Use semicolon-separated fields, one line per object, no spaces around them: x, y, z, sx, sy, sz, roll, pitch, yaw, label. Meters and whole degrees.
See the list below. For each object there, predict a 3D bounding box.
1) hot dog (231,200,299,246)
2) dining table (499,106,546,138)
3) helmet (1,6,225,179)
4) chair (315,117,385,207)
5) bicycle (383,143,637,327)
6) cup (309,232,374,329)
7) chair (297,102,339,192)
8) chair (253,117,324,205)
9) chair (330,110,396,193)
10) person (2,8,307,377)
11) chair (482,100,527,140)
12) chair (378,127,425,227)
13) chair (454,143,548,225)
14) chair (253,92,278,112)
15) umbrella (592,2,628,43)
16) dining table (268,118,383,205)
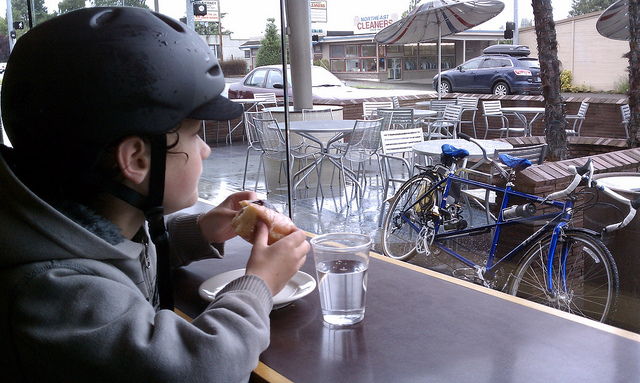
-0.139;0.081;1.236;0.139;0.066;0.141;24;21;23;hot dog
4.559;-1.546;10.068;1.158;0.684;1.141;-11;14;-38;dining table
-0.486;-0.212;1.143;0.460;0.334;0.337;6;-8;-25;helmet
0.542;-0.606;6.637;0.814;0.934;0.536;-6;14;-23;chair
1.542;0.361;3.946;1.078;1.324;2.158;20;2;-37;bicycle
0.058;0.248;1.231;0.173;0.211;0.156;2;-6;-24;cup
0.149;-0.791;7.890;0.705;1.136;0.830;-15;38;-41;chair
-0.598;-0.529;6.665;0.718;1.086;1.475;-5;14;-17;chair
0.720;-0.746;7.617;0.957;1.300;0.814;-4;23;-46;chair
-0.415;-0.018;1.030;0.689;0.792;0.471;-1;13;-4;person
4.113;-1.637;10.395;0.634;0.878;2.278;4;14;21;chair
1.156;-0.430;6.418;0.580;1.040;3.603;2;14;12;chair
1.651;0.000;4.098;0.692;0.906;0.669;0;-7;-11;chair
-1.486;-2.451;12.210;0.594;0.429;0.869;-3;14;-9;chair
5.666;-3.327;8.644;0.528;0.664;1.589;8;16;32;umbrella
0.027;-0.533;6.737;1.013;0.733;1.009;8;14;4;dining table
